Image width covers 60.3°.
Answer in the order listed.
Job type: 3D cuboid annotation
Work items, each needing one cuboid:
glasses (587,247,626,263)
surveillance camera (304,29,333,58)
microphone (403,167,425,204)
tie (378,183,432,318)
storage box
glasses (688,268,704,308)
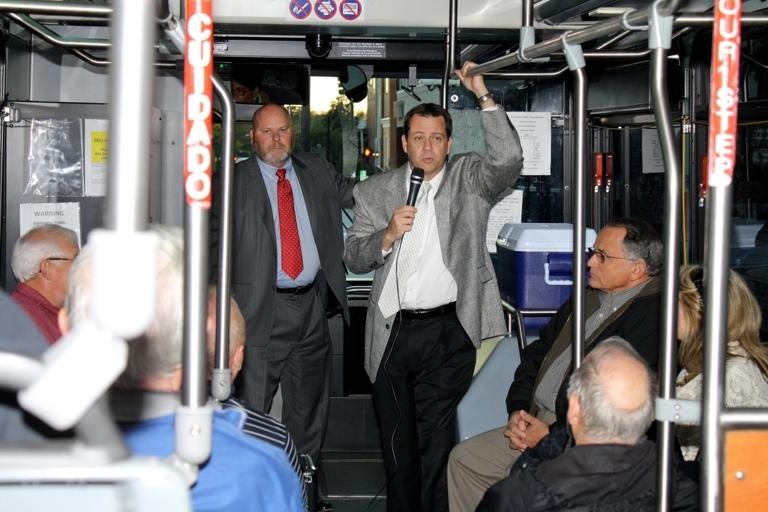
[{"bbox_3d":[0.970,-0.009,2.938,0.075,0.059,0.193,0,6,-19],"label":"glasses"},{"bbox_3d":[-0.392,-1.256,3.914,0.126,0.117,0.147,0,8,-3],"label":"surveillance camera"},{"bbox_3d":[0.145,-0.323,3.071,0.065,0.176,0.164,2,5,3],"label":"microphone"},{"bbox_3d":[0.128,-0.015,3.357,0.208,0.716,0.074,18,12,23],"label":"tie"},{"bbox_3d":[0.877,0.025,3.929,0.541,0.640,0.901,-1,6,-6],"label":"storage box"},{"bbox_3d":[1.190,0.110,2.519,0.038,0.144,0.087,3,5,16],"label":"glasses"}]
